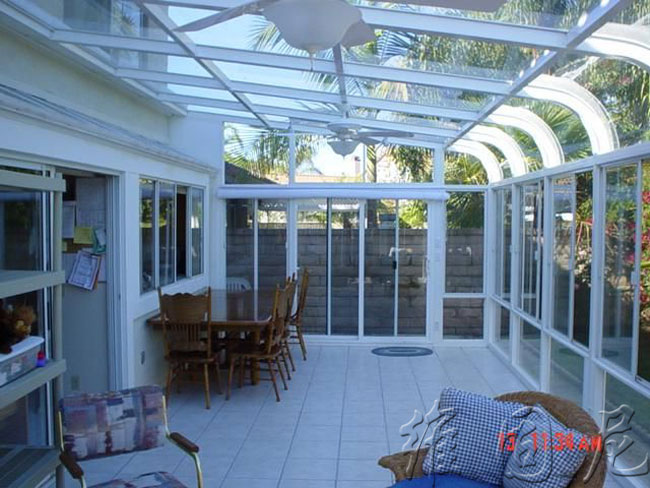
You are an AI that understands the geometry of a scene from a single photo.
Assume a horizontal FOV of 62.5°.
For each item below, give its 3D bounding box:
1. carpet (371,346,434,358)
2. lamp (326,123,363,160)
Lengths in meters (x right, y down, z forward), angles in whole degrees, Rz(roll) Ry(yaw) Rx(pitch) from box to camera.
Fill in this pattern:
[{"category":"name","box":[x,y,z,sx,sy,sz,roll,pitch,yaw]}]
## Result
[{"category":"carpet","box":[1.157,1.617,8.083,0.922,0.023,0.618,-1,5,0]},{"category":"lamp","box":[0.212,-1.098,5.717,0.344,0.358,0.334,0,-2,-10]}]
